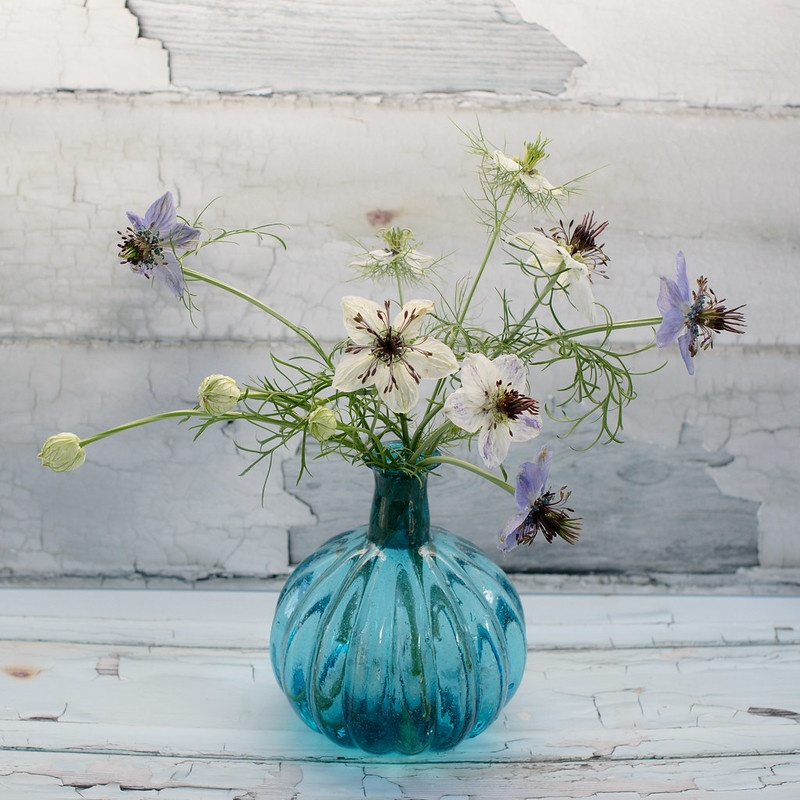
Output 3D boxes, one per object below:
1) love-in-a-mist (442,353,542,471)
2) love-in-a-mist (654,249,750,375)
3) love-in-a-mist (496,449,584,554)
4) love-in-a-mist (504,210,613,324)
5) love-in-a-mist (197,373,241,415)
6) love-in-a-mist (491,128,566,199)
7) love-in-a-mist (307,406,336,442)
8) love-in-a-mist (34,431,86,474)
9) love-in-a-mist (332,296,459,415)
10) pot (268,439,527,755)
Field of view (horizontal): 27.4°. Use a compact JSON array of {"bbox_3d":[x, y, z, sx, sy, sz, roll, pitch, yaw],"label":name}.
[{"bbox_3d":[0.084,0.010,1.497,0.088,0.099,0.050,2,-18,-1],"label":"love-in-a-mist"},{"bbox_3d":[0.275,-0.079,1.539,0.089,0.055,0.132,3,-16,0],"label":"love-in-a-mist"},{"bbox_3d":[0.128,0.100,1.537,0.041,0.081,0.089,-22,-36,-5],"label":"love-in-a-mist"},{"bbox_3d":[0.163,-0.141,1.708,0.069,0.097,0.096,-48,0,30],"label":"love-in-a-mist"},{"bbox_3d":[-0.165,-0.008,1.520,0.038,0.032,0.023,9,-12,-1],"label":"love-in-a-mist"},{"bbox_3d":[0.127,-0.225,1.563,0.070,0.032,0.047,20,-9,24],"label":"love-in-a-mist"},{"bbox_3d":[-0.070,0.021,1.481,0.029,0.028,0.013,5,-7,-18],"label":"love-in-a-mist"},{"bbox_3d":[-0.319,0.049,1.546,0.045,0.037,0.022,-17,14,-9],"label":"love-in-a-mist"},{"bbox_3d":[-0.003,-0.039,1.495,0.112,0.102,0.096,2,-18,-2],"label":"love-in-a-mist"},{"bbox_3d":[0.003,0.183,1.682,0.276,0.269,0.278,1,16,0],"label":"pot"}]
